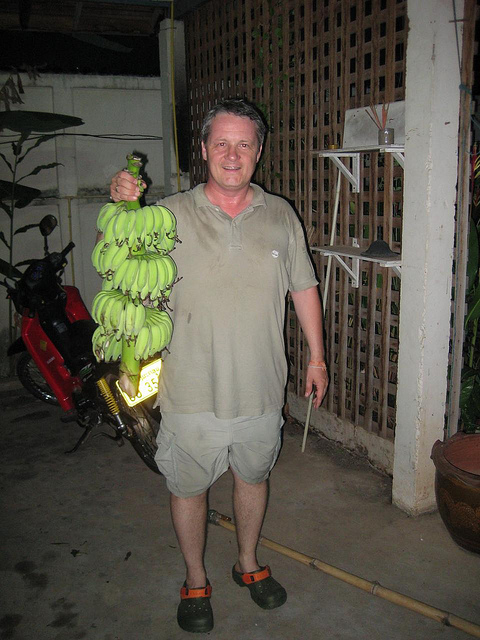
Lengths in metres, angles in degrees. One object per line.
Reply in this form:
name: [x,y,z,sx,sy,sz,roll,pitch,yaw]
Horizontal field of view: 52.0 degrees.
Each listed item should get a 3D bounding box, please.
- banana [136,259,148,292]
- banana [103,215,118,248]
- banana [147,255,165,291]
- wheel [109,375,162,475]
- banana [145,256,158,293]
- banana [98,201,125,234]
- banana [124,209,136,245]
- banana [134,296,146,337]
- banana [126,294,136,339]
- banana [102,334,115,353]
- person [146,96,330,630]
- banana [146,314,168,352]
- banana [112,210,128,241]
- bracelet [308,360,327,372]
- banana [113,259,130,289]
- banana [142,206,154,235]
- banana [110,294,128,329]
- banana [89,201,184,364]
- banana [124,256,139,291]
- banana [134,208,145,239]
banana: [-0.262,-0.121,1.329,0.021,0.090,0.030,5,-8,-9]
banana: [-0.351,-0.237,1.336,0.024,0.101,0.034,13,3,16]
banana: [-0.235,-0.130,1.369,0.018,0.105,0.026,9,18,43]
wheel: [-0.610,0.633,2.969,0.229,0.672,0.506,0,8,12]
banana: [-0.243,-0.124,1.353,0.031,0.100,0.023,0,3,17]
banana: [-0.371,-0.295,1.415,0.029,0.120,0.045,23,-7,38]
banana: [-0.284,-0.240,1.289,0.020,0.083,0.023,2,-28,3]
banana: [-0.276,-0.010,1.369,0.026,0.110,0.036,-3,-1,16]
banana: [-0.299,-0.006,1.344,0.019,0.106,0.026,-2,-28,-11]
banana: [-0.415,0.065,1.561,0.014,0.074,0.019,4,-19,31]
person: [-0.008,0.182,1.828,0.687,1.871,0.326,-7,9,-37]
banana: [-0.244,0.044,1.488,0.027,0.095,0.075,-1,3,-3]
banana: [-0.319,-0.253,1.299,0.023,0.088,0.029,-1,-24,8]
bracelet: [0.312,0.185,1.960,0.047,0.032,0.042,-8,-10,44]
banana: [-0.323,-0.127,1.332,0.026,0.096,0.032,16,-21,-3]
banana: [-0.245,-0.278,1.322,0.024,0.101,0.033,-3,-9,-8]
banana: [-0.346,-0.018,1.372,0.021,0.109,0.028,26,-17,1]
banana: [-0.315,-0.093,1.433,0.188,0.523,0.214,17,13,29]
banana: [-0.290,-0.125,1.327,0.024,0.092,0.029,5,-19,-3]
banana: [-0.262,-0.251,1.282,0.021,0.075,0.023,1,-15,-3]
